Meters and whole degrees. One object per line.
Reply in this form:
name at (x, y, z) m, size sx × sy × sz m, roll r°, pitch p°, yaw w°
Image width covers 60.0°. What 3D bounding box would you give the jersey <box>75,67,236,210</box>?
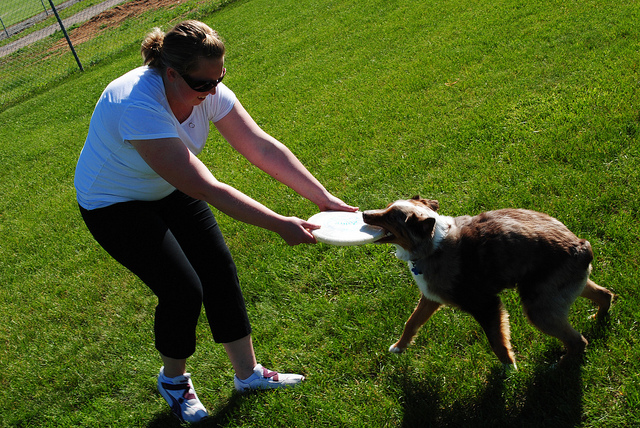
jersey at (-1.715, -0.850, 6.671) m, size 1.667 × 1.601 × 1.900 m, roll 16°, pitch 24°, yaw 37°
